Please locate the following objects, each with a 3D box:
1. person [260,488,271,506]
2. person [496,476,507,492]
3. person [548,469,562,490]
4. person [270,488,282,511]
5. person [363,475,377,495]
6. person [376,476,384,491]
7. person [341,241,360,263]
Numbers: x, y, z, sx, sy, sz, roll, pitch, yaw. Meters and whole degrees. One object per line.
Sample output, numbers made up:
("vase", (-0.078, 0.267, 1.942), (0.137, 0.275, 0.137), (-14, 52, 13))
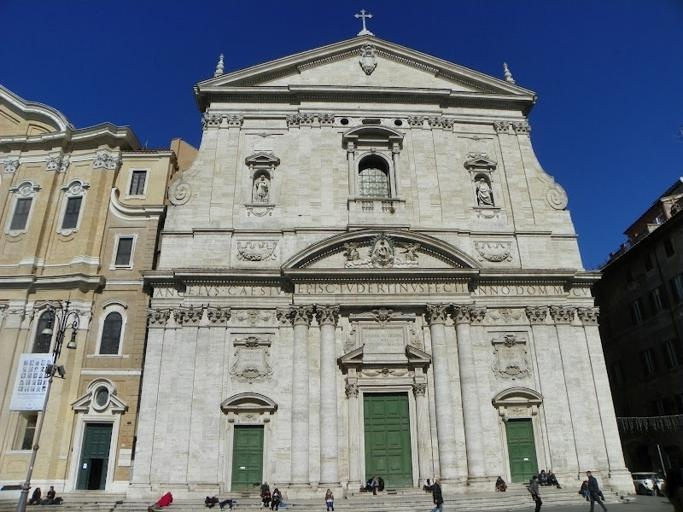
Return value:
("person", (-4.028, 12.894, 31.412), (0.443, 1.101, 0.621), (6, -29, -13))
("person", (9.004, 12.977, 33.345), (0.636, 0.850, 0.754), (-7, -28, 11))
("person", (12.279, 12.937, 33.995), (0.650, 1.064, 0.772), (-10, -29, 16))
("person", (-3.489, 12.939, 31.211), (0.527, 1.130, 0.751), (3, -28, -7))
("person", (1.671, 12.994, 33.177), (0.705, 0.960, 0.497), (-2, -28, 1))
("person", (2.253, 13.076, 33.704), (0.327, 0.875, 0.921), (-6, -28, 9))
("person", (0.588, -0.248, 37.442), (0.982, 1.264, 0.410), (0, -29, -2))
